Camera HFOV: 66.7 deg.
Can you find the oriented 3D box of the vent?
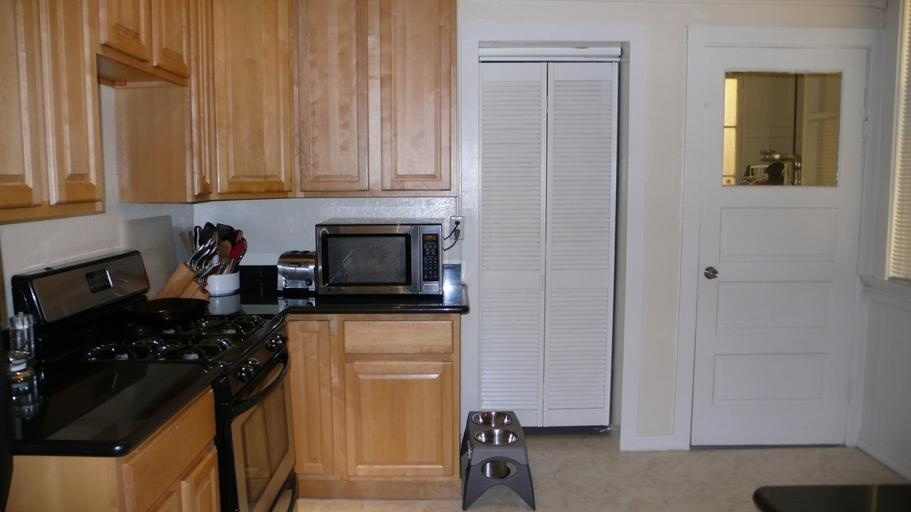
[{"bbox_3d":[-2.127,0.177,4.028,0.226,0.311,0.693,3,15,26],"label":"vent"}]

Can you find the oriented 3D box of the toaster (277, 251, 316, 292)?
[{"bbox_3d":[-1.070,0.093,4.815,0.385,0.254,0.252,0,13,-4],"label":"toaster"}]

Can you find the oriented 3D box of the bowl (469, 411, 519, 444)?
[{"bbox_3d":[0.263,1.141,4.589,0.334,0.145,0.303,-1,9,-1],"label":"bowl"}]

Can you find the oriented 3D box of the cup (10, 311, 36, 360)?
[{"bbox_3d":[-2.265,0.416,3.637,0.108,0.215,0.196,-6,11,-28],"label":"cup"}]

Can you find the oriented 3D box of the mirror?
[{"bbox_3d":[2.272,-0.936,4.866,0.935,0.781,0.040,1,2,-3],"label":"mirror"}]

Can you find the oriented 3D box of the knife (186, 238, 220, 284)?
[{"bbox_3d":[-1.653,0.026,4.568,0.145,0.284,0.334,3,10,18],"label":"knife"}]

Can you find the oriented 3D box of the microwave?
[{"bbox_3d":[-0.493,0.014,4.800,0.849,0.452,0.500,0,2,3],"label":"microwave"}]
